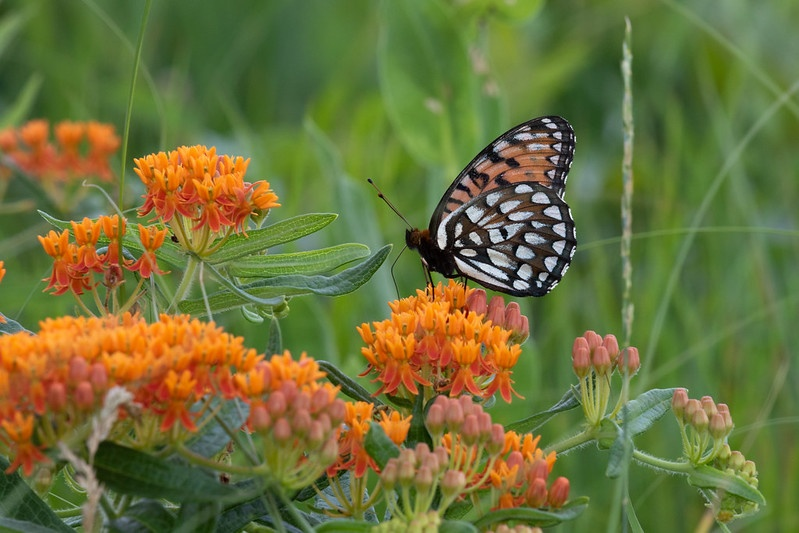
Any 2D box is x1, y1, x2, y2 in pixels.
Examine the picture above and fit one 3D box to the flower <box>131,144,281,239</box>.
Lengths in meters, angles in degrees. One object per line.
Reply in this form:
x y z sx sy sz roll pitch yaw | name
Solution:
-0.439 -0.171 2.174 0.223 0.142 0.236 19 3 23 | flower
